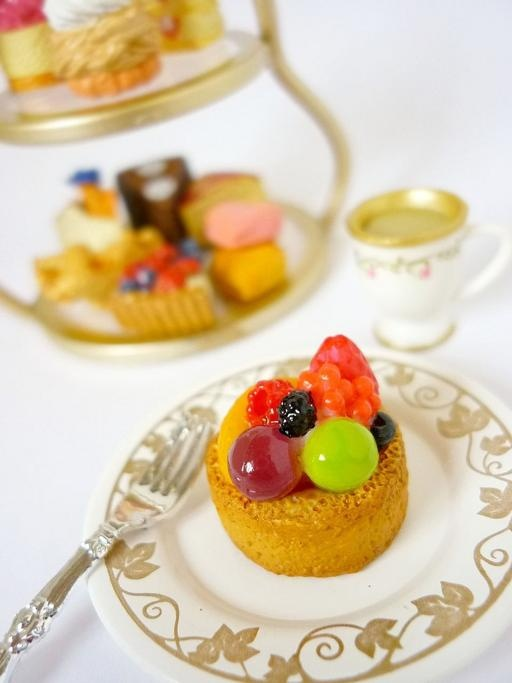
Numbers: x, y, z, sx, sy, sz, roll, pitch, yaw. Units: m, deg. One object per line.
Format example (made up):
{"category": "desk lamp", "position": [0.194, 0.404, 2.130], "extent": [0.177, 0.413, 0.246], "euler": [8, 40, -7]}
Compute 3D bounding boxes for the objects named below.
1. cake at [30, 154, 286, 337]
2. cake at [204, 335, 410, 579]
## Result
{"category": "cake", "position": [-0.168, -0.180, 1.545], "extent": [0.439, 0.142, 0.422], "euler": [-37, 58, -13]}
{"category": "cake", "position": [0.056, 0.144, 0.969], "extent": [0.312, 0.283, 0.303], "euler": [-15, 30, -7]}
